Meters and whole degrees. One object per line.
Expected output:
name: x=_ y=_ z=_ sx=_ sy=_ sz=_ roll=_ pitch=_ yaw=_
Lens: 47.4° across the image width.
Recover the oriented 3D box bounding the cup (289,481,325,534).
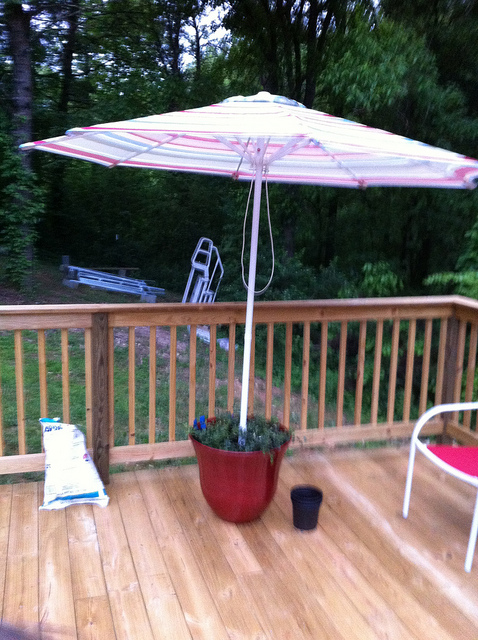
cup: x=0.298 y=0.815 z=2.406 sx=0.175 sy=0.180 sz=0.177 roll=1 pitch=4 yaw=0

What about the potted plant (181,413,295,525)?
potted plant: x=0.002 y=0.648 z=2.388 sx=0.439 sy=0.495 sz=0.422 roll=1 pitch=7 yaw=-5

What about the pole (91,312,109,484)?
pole: x=-0.648 y=0.413 z=2.672 sx=0.097 sy=0.896 sz=0.095 roll=3 pitch=22 yaw=-3
